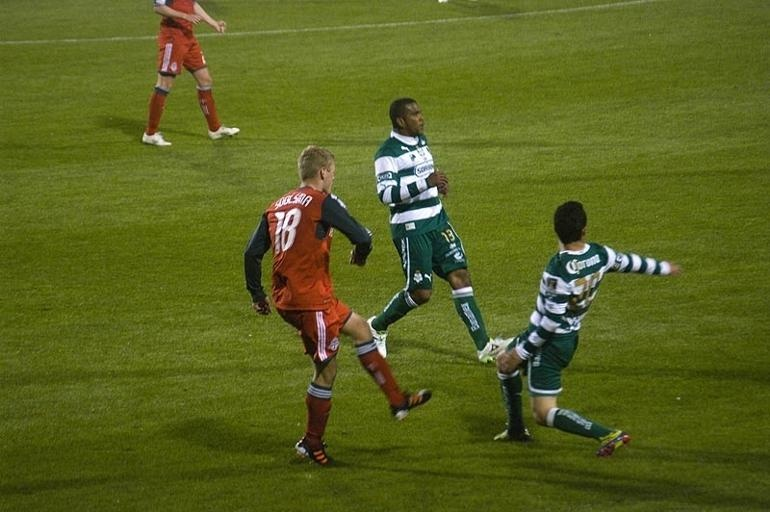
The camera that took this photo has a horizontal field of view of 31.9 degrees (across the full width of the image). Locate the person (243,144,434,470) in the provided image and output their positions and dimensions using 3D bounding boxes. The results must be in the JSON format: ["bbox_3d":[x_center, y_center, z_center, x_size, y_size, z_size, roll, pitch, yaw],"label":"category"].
[{"bbox_3d":[-0.664,0.536,14.855,1.462,3.453,0.947,10,14,40],"label":"person"}]

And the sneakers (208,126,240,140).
[{"bbox_3d":[-2.480,-1.961,21.049,0.563,0.195,0.186,-10,15,-6],"label":"sneakers"}]

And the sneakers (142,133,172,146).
[{"bbox_3d":[-3.493,-1.798,20.677,0.506,0.171,0.170,6,21,12],"label":"sneakers"}]

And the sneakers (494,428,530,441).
[{"bbox_3d":[1.434,2.023,15.016,0.431,0.146,0.143,2,5,7],"label":"sneakers"}]
